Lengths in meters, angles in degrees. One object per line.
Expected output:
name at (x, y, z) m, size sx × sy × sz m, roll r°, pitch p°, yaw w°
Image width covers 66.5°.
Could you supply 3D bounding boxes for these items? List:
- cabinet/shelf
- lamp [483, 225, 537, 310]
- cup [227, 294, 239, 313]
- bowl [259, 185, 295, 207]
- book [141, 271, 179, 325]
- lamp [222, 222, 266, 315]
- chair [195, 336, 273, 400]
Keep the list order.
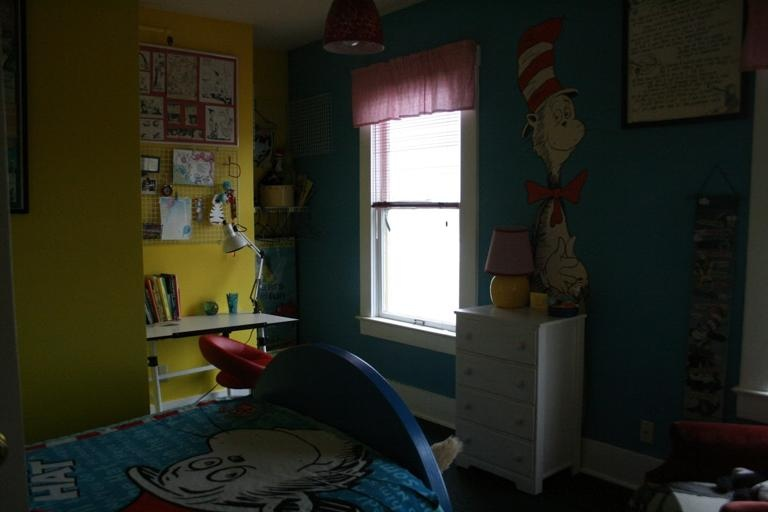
cabinet/shelf at (0.842, 0.891, 3.774) m, size 0.834 × 1.043 × 0.497 m, roll 4°, pitch 11°, yaw 18°
lamp at (0.838, 0.078, 3.898) m, size 0.307 × 0.538 × 0.189 m, roll 1°, pitch 11°, yaw 2°
cup at (-1.314, 0.401, 5.091) m, size 0.101 × 0.175 × 0.231 m, roll -2°, pitch 11°, yaw -14°
bowl at (-1.018, -0.571, 5.620) m, size 0.234 × 0.143 × 0.230 m, roll 0°, pitch 6°, yaw 0°
book at (-1.759, 0.334, 4.648) m, size 0.178 × 0.359 × 0.271 m, roll 4°, pitch 11°, yaw 20°
lamp at (-1.226, 0.080, 5.164) m, size 0.314 × 0.831 × 0.850 m, roll -2°, pitch 11°, yaw -12°
chair at (-1.063, 0.715, 4.100) m, size 0.520 × 0.470 × 0.531 m, roll -5°, pitch 11°, yaw -19°
